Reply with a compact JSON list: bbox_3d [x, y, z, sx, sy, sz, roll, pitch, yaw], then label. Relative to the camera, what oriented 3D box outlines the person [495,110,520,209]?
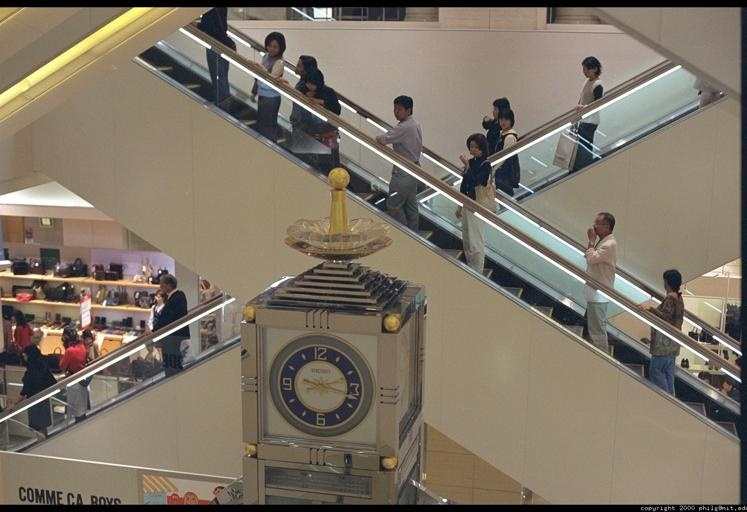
[{"bbox_3d":[1.797,-1.416,25.288,0.333,1.256,0.506,3,-17,4],"label":"person"}]

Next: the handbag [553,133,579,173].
[{"bbox_3d":[2.560,-1.384,25.369,0.288,0.464,0.297,21,-11,4],"label":"handbag"}]

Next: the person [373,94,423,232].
[{"bbox_3d":[0.329,-1.190,23.902,0.582,1.669,0.545,4,-17,0],"label":"person"}]

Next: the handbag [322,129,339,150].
[{"bbox_3d":[-0.517,-1.497,23.882,0.227,0.241,0.237,1,23,3],"label":"handbag"}]

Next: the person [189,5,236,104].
[{"bbox_3d":[-1.962,-2.605,24.179,0.428,1.480,0.633,-2,-18,19],"label":"person"}]

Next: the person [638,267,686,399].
[{"bbox_3d":[3.606,0.894,23.574,0.538,1.575,0.454,4,-17,1],"label":"person"}]

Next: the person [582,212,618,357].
[{"bbox_3d":[2.806,0.301,23.603,0.395,1.670,0.521,2,-17,6],"label":"person"}]

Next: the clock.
[{"bbox_3d":[-0.521,1.322,20.474,1.055,1.053,0.101,1,3,8],"label":"clock"}]

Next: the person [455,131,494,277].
[{"bbox_3d":[1.289,-0.690,23.928,0.425,1.808,0.691,2,-17,6],"label":"person"}]

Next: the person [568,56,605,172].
[{"bbox_3d":[2.854,-1.913,25.241,0.379,1.402,0.637,3,-17,5],"label":"person"}]
